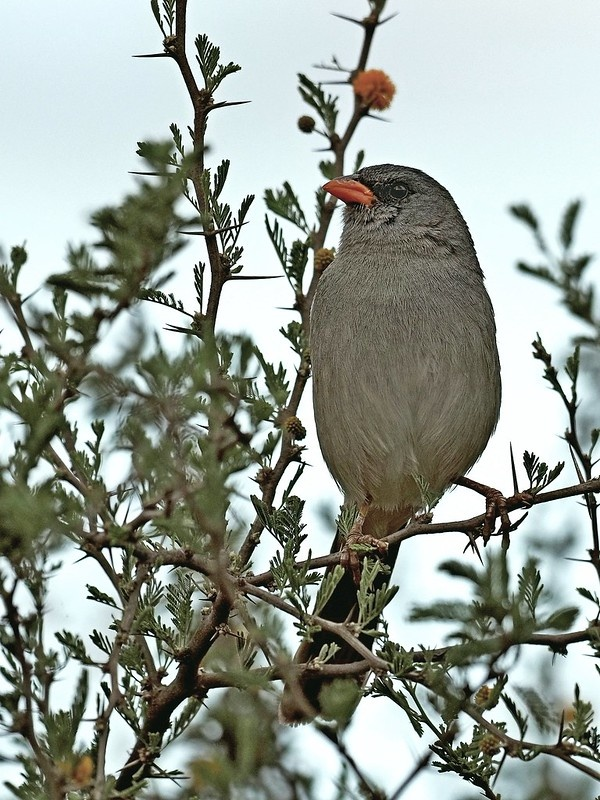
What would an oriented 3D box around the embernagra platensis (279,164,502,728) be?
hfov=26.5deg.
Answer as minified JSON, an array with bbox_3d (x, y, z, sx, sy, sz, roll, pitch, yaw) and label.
[{"bbox_3d":[0.083,0.267,4.967,0.634,1.007,2.072,11,-69,-11],"label":"embernagra platensis"}]
